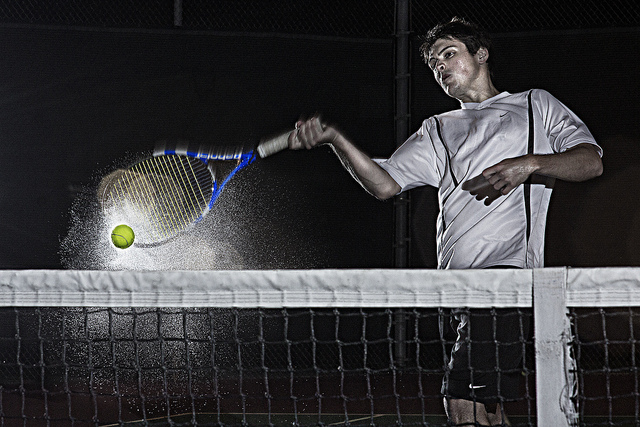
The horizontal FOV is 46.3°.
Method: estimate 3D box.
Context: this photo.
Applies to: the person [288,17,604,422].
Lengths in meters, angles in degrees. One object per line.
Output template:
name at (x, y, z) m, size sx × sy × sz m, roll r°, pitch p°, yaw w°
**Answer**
person at (0.818, 0.041, 4.603) m, size 1.294 × 2.283 × 1.081 m, roll 18°, pitch 25°, yaw 35°
